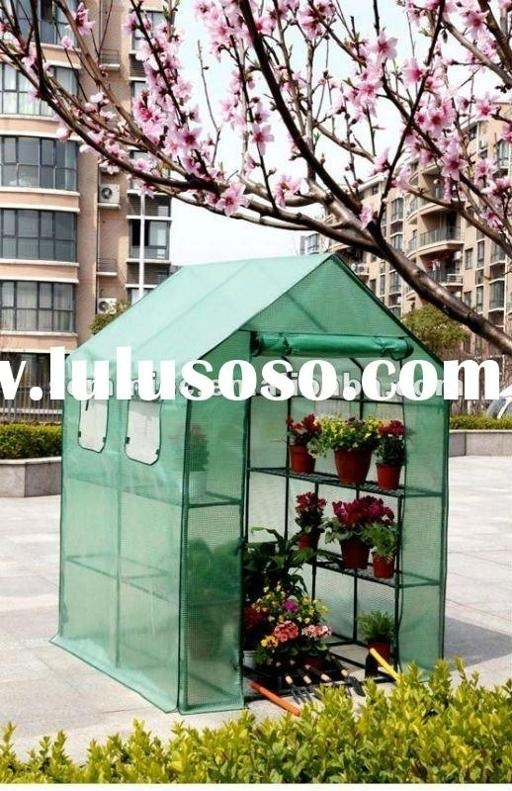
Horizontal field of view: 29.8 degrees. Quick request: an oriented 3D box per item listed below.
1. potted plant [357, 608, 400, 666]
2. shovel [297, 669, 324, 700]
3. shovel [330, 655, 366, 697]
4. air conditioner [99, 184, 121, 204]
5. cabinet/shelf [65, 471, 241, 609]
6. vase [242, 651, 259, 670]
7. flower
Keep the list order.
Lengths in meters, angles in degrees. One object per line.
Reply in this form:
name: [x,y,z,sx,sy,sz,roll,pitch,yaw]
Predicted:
potted plant: [0.781,1.582,6.306,0.345,0.325,0.317,0,-2,-11]
shovel: [0.314,1.738,5.738,0.120,0.104,0.369,2,2,2]
shovel: [0.561,1.725,5.898,0.068,0.038,0.363,0,12,-14]
air conditioner: [-5.645,-7.675,36.791,0.926,0.753,0.310,0,-1,-16]
cabinet/shelf: [-0.710,0.848,6.192,0.393,0.870,1.657,0,2,-35]
vase: [-0.042,1.688,6.143,0.080,0.153,0.136,2,2,0]
flower: [0.253,0.932,6.168,0.581,1.536,1.785,-2,3,-30]
